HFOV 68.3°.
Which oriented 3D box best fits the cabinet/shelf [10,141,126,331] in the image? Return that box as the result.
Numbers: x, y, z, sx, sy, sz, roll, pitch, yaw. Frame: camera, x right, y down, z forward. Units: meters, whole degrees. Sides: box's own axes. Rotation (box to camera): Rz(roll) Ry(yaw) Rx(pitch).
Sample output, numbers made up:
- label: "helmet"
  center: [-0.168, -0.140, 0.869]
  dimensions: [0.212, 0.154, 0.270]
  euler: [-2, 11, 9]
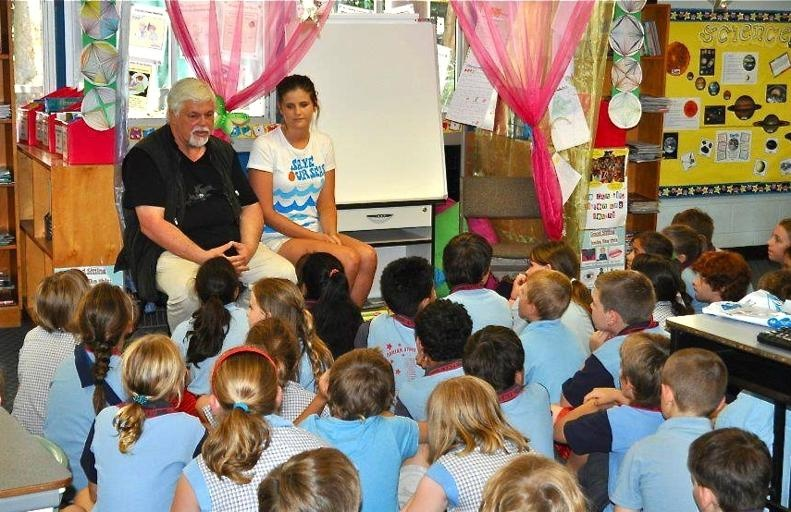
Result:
- label: "cabinet/shelf"
  center: [-2.200, -0.184, 3.961]
  dimensions: [0.488, 1.314, 1.485]
  euler: [-2, 7, -23]

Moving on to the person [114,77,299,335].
- label: "person"
  center: [-1.240, -0.340, 3.564]
  dimensions: [0.859, 1.500, 0.505]
  euler: [-1, 4, -26]
